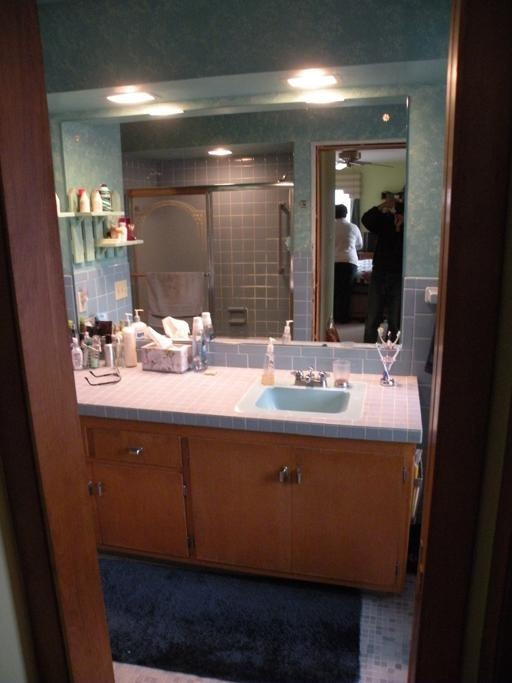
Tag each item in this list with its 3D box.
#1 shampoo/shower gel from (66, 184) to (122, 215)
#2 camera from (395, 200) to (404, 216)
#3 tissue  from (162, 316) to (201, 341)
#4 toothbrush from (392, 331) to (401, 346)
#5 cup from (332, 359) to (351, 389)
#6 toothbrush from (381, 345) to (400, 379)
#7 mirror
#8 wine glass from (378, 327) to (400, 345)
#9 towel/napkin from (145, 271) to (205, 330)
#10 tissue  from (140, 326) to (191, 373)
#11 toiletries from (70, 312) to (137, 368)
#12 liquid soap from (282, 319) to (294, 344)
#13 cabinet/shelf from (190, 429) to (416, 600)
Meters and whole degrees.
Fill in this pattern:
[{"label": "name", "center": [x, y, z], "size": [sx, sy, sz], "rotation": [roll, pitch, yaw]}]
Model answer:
[{"label": "shampoo/shower gel", "center": [-0.788, -0.681, 2.591], "size": [0.210, 0.165, 0.141], "rotation": [9, 16, 0]}, {"label": "camera", "center": [0.574, -0.546, 2.216], "size": [0.041, 0.091, 0.042], "rotation": [0, 11, 12]}, {"label": "tissue ", "center": [-0.347, -0.062, 2.584], "size": [0.121, 0.052, 0.137], "rotation": [-4, 36, -7]}, {"label": "toothbrush", "center": [0.607, -0.012, 2.361], "size": [0.020, 0.098, 0.021], "rotation": [19, 19, 28]}, {"label": "cup", "center": [0.350, 0.134, 2.317], "size": [0.079, 0.115, 0.094], "rotation": [0, -1, 3]}, {"label": "toothbrush", "center": [0.565, 0.081, 2.343], "size": [0.078, 0.160, 0.141], "rotation": [4, 13, 24]}, {"label": "mirror", "center": [-0.134, -0.546, 2.351], "size": [1.496, 1.018, 0.069], "rotation": [6, 16, 6]}, {"label": "wine glass", "center": [0.575, -0.017, 2.362], "size": [0.085, 0.106, 0.056], "rotation": [-4, -3, -2]}, {"label": "towel/napkin", "center": [-0.374, -0.206, 2.605], "size": [0.228, 0.258, 0.040], "rotation": [1, 5, 14]}, {"label": "tissue ", "center": [-0.426, 0.056, 2.563], "size": [0.185, 0.233, 0.164], "rotation": [7, 16, 16]}, {"label": "toiletries", "center": [-0.740, 0.002, 2.689], "size": [0.342, 0.267, 0.388], "rotation": [0, 7, 2]}, {"label": "liquid soap", "center": [0.143, -0.052, 2.495], "size": [0.049, 0.142, 0.050], "rotation": [-17, 27, -40]}, {"label": "cabinet/shelf", "center": [0.178, 0.608, 2.005], "size": [0.798, 0.476, 0.322], "rotation": [2, 14, 14]}]
